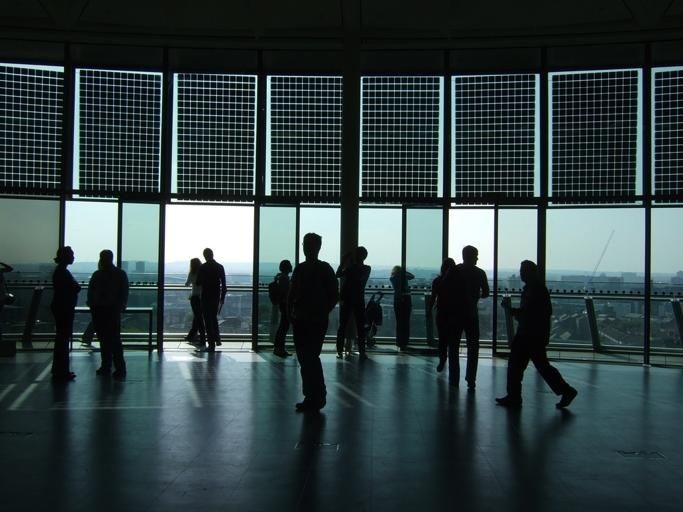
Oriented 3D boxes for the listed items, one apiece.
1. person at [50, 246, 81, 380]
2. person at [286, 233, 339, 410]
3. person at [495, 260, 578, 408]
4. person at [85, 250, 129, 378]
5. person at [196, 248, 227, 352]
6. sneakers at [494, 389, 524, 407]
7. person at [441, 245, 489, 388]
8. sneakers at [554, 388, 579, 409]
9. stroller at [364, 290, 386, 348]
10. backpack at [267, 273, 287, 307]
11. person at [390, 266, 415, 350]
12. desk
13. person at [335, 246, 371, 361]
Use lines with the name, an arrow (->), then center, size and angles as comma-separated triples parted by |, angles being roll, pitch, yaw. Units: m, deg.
person -> -4.554, 0.933, 11.094 | 0.432, 2.147, 0.675 | 0, 2, -24
person -> -0.390, 0.909, 9.330 | 0.670, 2.431, 0.354 | 0, 2, -4
person -> 2.782, 1.122, 9.726 | 1.036, 2.078, 0.562 | 1, 2, 10
person -> -3.975, 0.968, 11.423 | 0.644, 2.117, 0.631 | 0, 2, -22
person -> -2.788, 0.929, 14.435 | 0.576, 2.195, 0.546 | 0, 2, -13
sneakers -> 2.412, 2.051, 9.758 | 0.381, 0.284, 0.171 | 7, 5, 43
person -> 2.034, 0.970, 10.878 | 0.551, 2.263, 0.606 | 2, 2, 33
sneakers -> 3.250, 2.028, 9.742 | 0.259, 0.293, 0.564 | 1, 3, 18
stroller -> 0.695, 1.403, 14.974 | 0.480, 1.135, 0.633 | 7, 6, 2
backpack -> -1.295, 0.670, 13.824 | 0.405, 0.651, 0.609 | -5, -12, 9
person -> 1.313, 1.127, 14.743 | 0.512, 1.779, 0.238 | 1, 2, 5
desk -> -4.730, 1.530, 14.092 | 1.613, 1.206, 0.617 | 2, 2, -27
person -> 0.182, 0.942, 13.457 | 0.634, 2.249, 0.690 | 0, 2, -27
